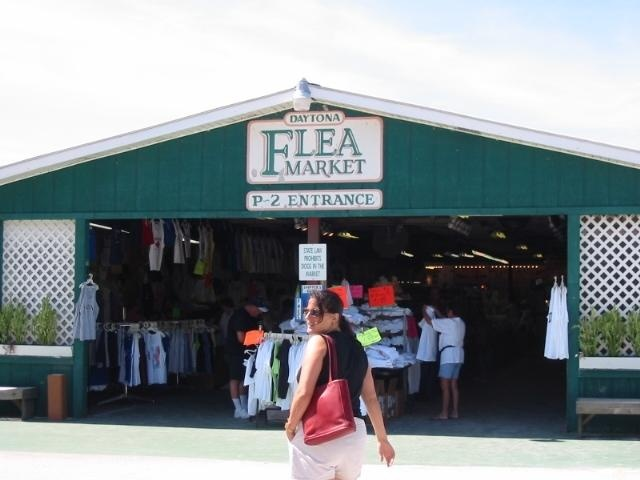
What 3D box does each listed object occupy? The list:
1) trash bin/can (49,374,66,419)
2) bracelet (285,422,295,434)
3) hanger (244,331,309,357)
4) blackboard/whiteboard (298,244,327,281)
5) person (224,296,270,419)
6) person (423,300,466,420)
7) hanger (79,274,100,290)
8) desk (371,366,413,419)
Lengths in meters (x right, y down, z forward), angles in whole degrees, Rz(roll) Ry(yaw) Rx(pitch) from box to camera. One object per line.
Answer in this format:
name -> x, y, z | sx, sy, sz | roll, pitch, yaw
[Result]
trash bin/can -> -4.233, 2.541, 13.790 | 0.285, 0.680, 0.241 | 0, -8, -24
bracelet -> -0.281, 1.787, 8.144 | 0.091, 0.113, 0.078 | -1, -8, 9
hanger -> -0.638, 1.555, 13.210 | 0.863, 0.368, 0.729 | 0, -1, 20
blackboard/whiteboard -> -0.110, 0.349, 13.270 | 0.619, 0.774, 0.079 | 0, -8, -1
person -> -1.330, 1.963, 14.193 | 0.648, 1.812, 0.758 | 3, 2, 16
person -> 2.055, 2.015, 14.180 | 0.646, 1.731, 0.801 | 3, 1, 32
hanger -> -3.905, 0.709, 14.476 | 0.049, 0.283, 0.417 | 9, 2, 31
desk -> 1.163, 2.470, 13.920 | 0.617, 0.892, 0.584 | 3, -5, -28
